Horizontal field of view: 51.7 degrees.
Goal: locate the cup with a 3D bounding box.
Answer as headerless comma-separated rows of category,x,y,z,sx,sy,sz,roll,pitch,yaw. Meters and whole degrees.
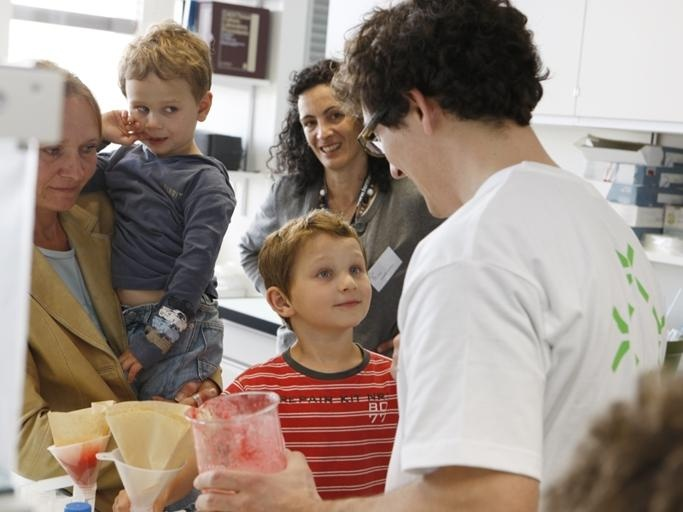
cup,-0.174,0.295,1.203,0.137,0.140,0.146,-7,-1,0

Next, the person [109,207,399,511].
person,-0.212,0.235,1.726,0.647,1.060,0.300,-1,-25,-25

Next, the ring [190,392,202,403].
ring,-0.410,0.402,1.994,0.019,0.005,0.021,24,35,-18

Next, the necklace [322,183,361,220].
necklace,0.026,-0.188,2.498,0.096,0.149,0.049,1,8,17
